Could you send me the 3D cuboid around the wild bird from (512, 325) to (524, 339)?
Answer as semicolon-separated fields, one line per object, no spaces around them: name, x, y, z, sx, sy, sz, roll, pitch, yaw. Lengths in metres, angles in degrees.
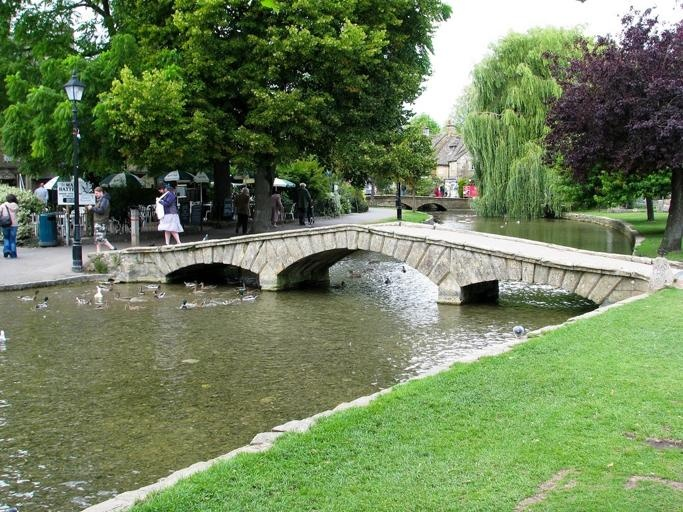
wild bird;3.480;1.487;13.465;0.218;0.228;0.277;-2;0;-17

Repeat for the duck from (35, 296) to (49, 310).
duck;-7.266;1.115;16.556;0.254;0.247;0.766;-10;11;-22

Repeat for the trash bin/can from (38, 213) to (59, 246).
trash bin/can;-11.179;-0.998;26.338;0.791;1.188;0.830;-7;-6;28

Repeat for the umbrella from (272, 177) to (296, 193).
umbrella;-3.341;-4.243;40.128;1.126;0.380;1.161;3;5;-33

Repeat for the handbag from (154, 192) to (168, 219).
handbag;-5.698;-1.560;21.640;0.308;0.816;0.973;-9;10;-18
